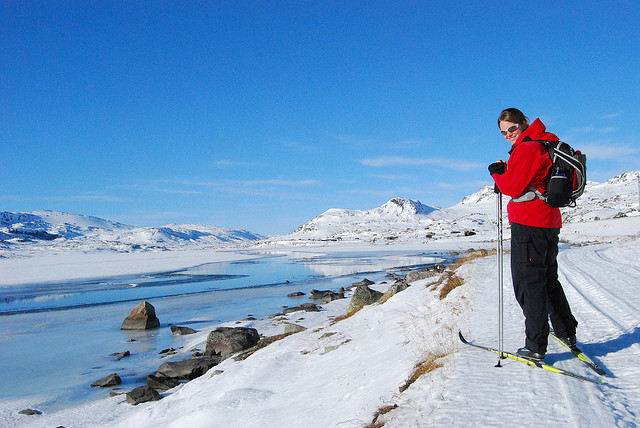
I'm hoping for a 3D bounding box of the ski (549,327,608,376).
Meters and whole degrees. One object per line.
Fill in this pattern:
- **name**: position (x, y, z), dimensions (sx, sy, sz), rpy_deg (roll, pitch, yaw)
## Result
- **ski**: position (4.555, 2.460, 6.734), dimensions (0.175, 0.109, 1.076), rpy_deg (-26, 6, 3)
